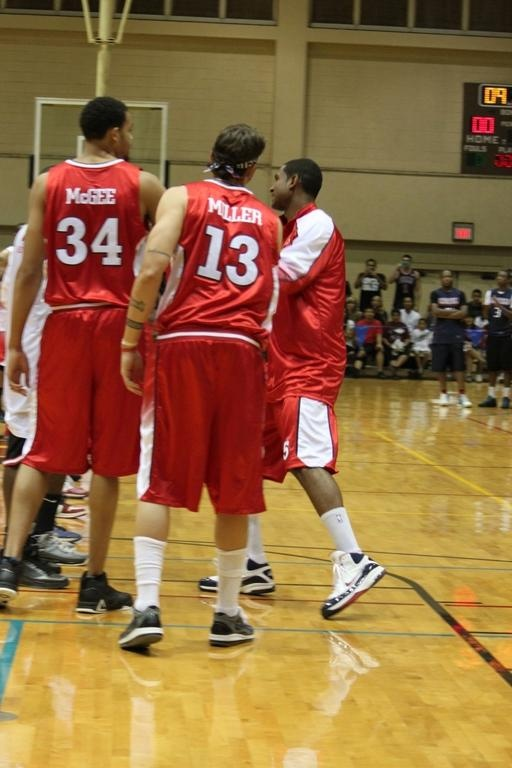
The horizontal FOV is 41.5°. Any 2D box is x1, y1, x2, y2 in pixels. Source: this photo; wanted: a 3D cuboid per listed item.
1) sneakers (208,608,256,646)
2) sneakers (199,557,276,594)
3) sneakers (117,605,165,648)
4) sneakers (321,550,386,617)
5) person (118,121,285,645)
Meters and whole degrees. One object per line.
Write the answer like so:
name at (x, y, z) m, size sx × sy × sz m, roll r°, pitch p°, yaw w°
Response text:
sneakers at (-0.072, 0.703, 1.972) m, size 0.065 × 0.075 × 0.163 m, roll -2°, pitch -5°, yaw 34°
sneakers at (-0.075, 0.720, 2.560) m, size 0.354 × 0.159 × 0.115 m, roll 2°, pitch -8°, yaw -3°
sneakers at (-0.307, 0.643, 1.783) m, size 0.102 × 0.131 × 0.132 m, roll 4°, pitch -6°, yaw -14°
sneakers at (0.316, 0.661, 2.214) m, size 0.193 × 0.219 × 0.137 m, roll 1°, pitch -6°, yaw 18°
person at (-0.151, -0.027, 1.878) m, size 0.451 × 1.511 × 0.337 m, roll 4°, pitch -6°, yaw -11°
